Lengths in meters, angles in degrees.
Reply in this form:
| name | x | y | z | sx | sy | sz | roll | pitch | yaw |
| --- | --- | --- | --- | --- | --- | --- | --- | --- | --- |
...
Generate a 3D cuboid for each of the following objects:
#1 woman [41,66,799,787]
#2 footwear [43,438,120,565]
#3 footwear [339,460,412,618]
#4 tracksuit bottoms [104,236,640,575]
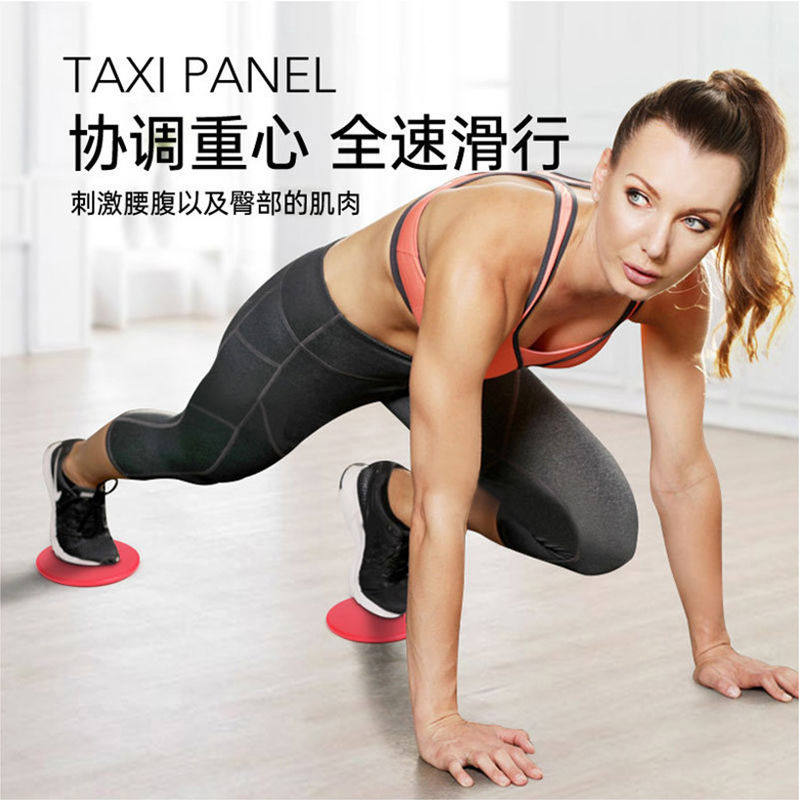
| name | x | y | z | sx | sy | sz | roll | pitch | yaw |
| --- | --- | --- | --- | --- | --- | --- | --- | --- | --- |
| woman | 0.171 | -0.128 | 1.965 | 0.859 | 0.952 | 1.606 | -5 | 14 | -39 |
| footwear | -0.745 | 0.228 | 2.189 | 0.153 | 0.301 | 0.161 | -9 | -5 | -41 |
| footwear | -0.043 | 0.285 | 1.967 | 0.141 | 0.312 | 0.169 | 2 | -5 | -42 |
| tracksuit bottoms | 0.003 | -0.001 | 1.892 | 1.025 | 0.482 | 0.553 | 24 | 23 | 28 |
